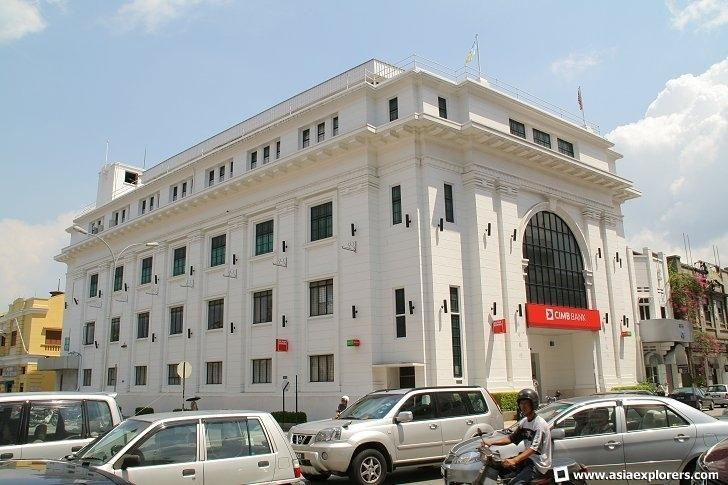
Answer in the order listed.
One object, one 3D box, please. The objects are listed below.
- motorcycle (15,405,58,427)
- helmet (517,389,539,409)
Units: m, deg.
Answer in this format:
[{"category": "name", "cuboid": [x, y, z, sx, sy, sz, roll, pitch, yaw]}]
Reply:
[{"category": "motorcycle", "cuboid": [-7.958, 4.285, 13.278, 0.657, 0.516, 0.162, 7, -24, -25]}, {"category": "helmet", "cuboid": [3.267, 3.106, 10.637, 0.473, 0.348, 0.385, 15, -25, -38]}]
